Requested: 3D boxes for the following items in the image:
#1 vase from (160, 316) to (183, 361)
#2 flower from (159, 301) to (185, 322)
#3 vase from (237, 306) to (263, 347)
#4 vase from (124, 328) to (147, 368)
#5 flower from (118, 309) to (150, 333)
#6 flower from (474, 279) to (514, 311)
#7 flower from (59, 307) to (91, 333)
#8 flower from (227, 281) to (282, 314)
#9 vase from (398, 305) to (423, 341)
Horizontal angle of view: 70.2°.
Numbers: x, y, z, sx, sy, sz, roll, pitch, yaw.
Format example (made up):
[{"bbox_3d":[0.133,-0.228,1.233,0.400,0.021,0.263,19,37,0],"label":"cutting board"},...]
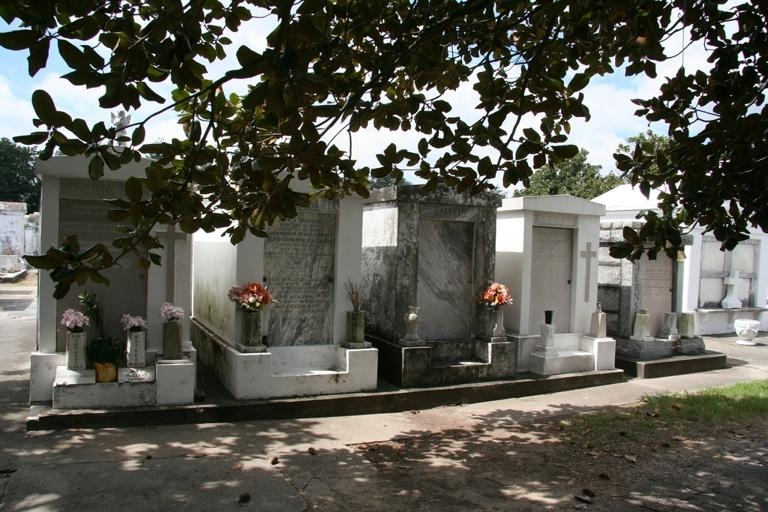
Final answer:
[{"bbox_3d":[-2.776,1.107,7.183,0.226,0.493,0.245,0,5,-16],"label":"vase"},{"bbox_3d":[-2.833,0.765,7.303,0.293,0.292,0.257,0,37,-2],"label":"flower"},{"bbox_3d":[-1.970,1.044,7.668,0.402,0.619,0.409,-3,-5,13],"label":"vase"},{"bbox_3d":[-3.290,1.227,7.221,0.235,0.488,0.219,0,5,-18],"label":"vase"},{"bbox_3d":[-3.295,0.894,7.185,0.333,0.236,0.302,3,-11,-10],"label":"flower"},{"bbox_3d":[1.869,0.665,9.012,0.517,0.363,0.525,-3,-7,37],"label":"flower"},{"bbox_3d":[-3.969,0.831,6.999,0.375,0.298,0.326,8,2,24],"label":"flower"},{"bbox_3d":[-1.871,0.588,7.735,0.609,0.412,0.514,1,5,-18],"label":"flower"},{"bbox_3d":[0.410,1.047,8.395,0.273,0.486,0.410,2,5,2],"label":"vase"}]
